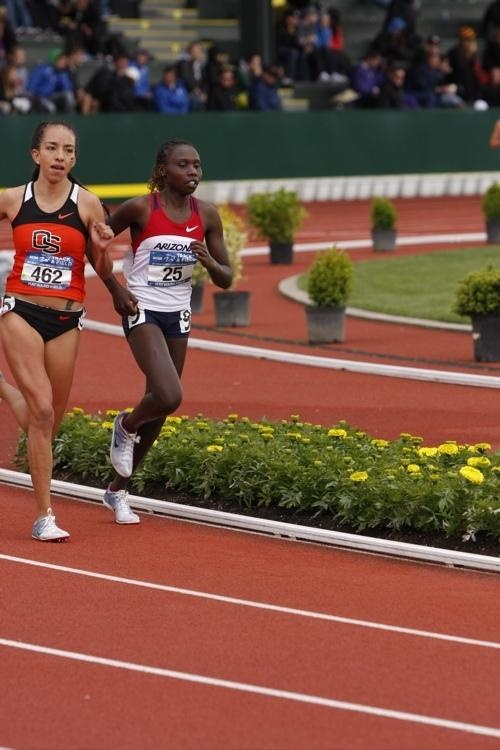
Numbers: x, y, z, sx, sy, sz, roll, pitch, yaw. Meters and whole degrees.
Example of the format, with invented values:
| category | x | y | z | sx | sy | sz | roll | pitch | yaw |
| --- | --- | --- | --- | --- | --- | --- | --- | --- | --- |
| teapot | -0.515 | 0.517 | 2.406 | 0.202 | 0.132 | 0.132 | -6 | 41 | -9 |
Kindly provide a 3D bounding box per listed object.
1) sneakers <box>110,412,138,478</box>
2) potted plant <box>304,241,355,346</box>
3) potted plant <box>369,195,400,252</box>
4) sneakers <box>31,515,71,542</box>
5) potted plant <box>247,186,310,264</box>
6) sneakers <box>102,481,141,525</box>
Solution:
| category | x | y | z | sx | sy | sz | roll | pitch | yaw |
| --- | --- | --- | --- | --- | --- | --- | --- | --- | --- |
| sneakers | -0.765 | 0.415 | 4.982 | 0.144 | 0.371 | 0.182 | 9 | -19 | -44 |
| potted plant | 0.927 | -0.999 | 10.552 | 0.741 | 1.139 | 0.669 | 4 | 5 | 21 |
| potted plant | 1.535 | -1.753 | 9.981 | 0.393 | 0.584 | 0.319 | -1 | 14 | 4 |
| sneakers | -1.068 | 0.824 | 4.578 | 0.106 | 0.117 | 0.272 | 2 | -5 | -35 |
| potted plant | 0.422 | -2.077 | 12.464 | 0.900 | 0.992 | 1.045 | -4 | 3 | 17 |
| sneakers | -0.795 | 0.757 | 5.173 | 0.340 | 0.131 | 0.127 | 35 | 30 | 30 |
